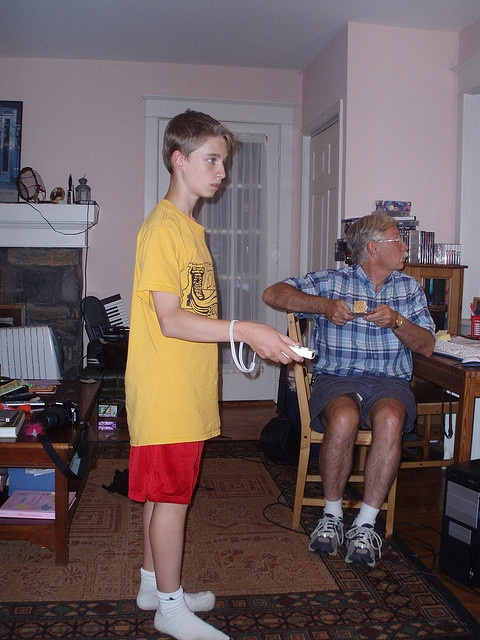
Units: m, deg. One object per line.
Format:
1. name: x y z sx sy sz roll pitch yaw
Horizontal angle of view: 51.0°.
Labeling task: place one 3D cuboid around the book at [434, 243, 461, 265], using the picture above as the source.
1. book: 1.295 -0.410 3.163 0.154 0.134 0.079 0 1 3

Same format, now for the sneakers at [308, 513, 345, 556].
1. sneakers: 0.321 0.755 1.801 0.098 0.104 0.240 1 -8 22

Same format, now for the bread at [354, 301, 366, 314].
1. bread: 0.457 -0.050 1.932 0.050 0.046 0.049 0 0 4

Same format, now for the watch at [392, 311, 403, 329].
1. watch: 0.572 0.005 1.827 0.032 0.059 0.050 2 2 17

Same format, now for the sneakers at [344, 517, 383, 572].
1. sneakers: 0.422 0.756 1.724 0.123 0.111 0.249 10 -4 19

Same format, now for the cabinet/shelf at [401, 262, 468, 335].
1. cabinet/shelf: 1.184 -0.096 3.120 0.356 0.460 0.169 5 -13 18

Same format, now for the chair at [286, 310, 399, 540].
1. chair: 0.388 0.438 2.003 0.372 0.617 0.370 2 -17 3
